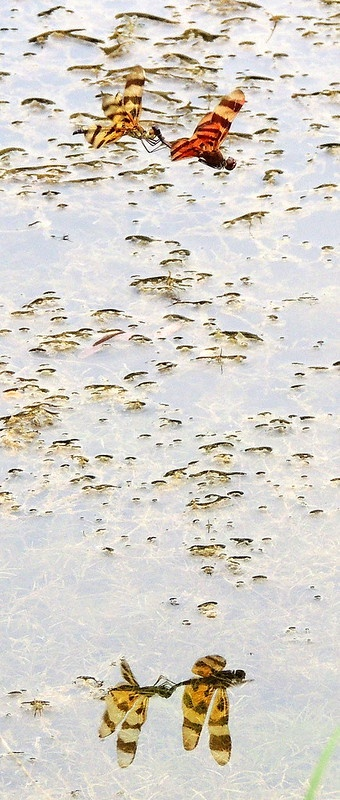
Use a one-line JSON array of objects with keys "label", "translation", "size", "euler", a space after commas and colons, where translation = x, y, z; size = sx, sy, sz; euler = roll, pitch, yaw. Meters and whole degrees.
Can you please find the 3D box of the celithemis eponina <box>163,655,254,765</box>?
[{"label": "celithemis eponina", "translation": [0.134, 0.941, 2.863], "size": [0.163, 0.097, 0.270], "euler": [-7, 33, -4]}]
